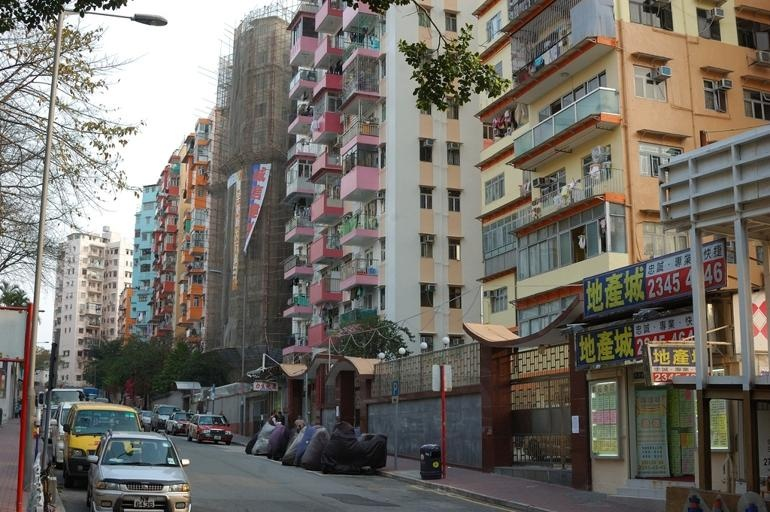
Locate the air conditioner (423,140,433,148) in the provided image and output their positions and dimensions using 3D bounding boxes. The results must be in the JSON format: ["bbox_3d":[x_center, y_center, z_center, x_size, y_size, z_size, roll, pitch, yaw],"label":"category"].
[{"bbox_3d":[2.689,-6.965,65.393,0.373,0.373,0.278,-1,2,-12],"label":"air conditioner"}]

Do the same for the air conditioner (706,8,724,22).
[{"bbox_3d":[15.509,-11.338,50.041,0.622,0.458,0.619,10,-12,-43],"label":"air conditioner"}]

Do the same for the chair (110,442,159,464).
[{"bbox_3d":[-7.682,5.974,32.490,1.422,0.737,0.558,5,-17,-13],"label":"chair"}]

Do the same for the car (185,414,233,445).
[{"bbox_3d":[-10.249,9.904,60.930,1.345,1.036,2.793,7,-20,-20],"label":"car"}]

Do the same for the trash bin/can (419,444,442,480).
[{"bbox_3d":[1.740,7.738,40.049,0.768,1.280,0.477,0,-17,4],"label":"trash bin/can"}]

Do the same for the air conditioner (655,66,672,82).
[{"bbox_3d":[12.613,-8.225,48.308,0.637,0.564,0.666,3,-9,-16],"label":"air conditioner"}]

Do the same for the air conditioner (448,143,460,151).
[{"bbox_3d":[4.281,-6.836,66.222,0.765,0.400,0.476,0,-5,-8],"label":"air conditioner"}]

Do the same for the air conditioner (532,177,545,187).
[{"bbox_3d":[7.626,-3.583,52.718,0.424,0.549,0.790,7,-11,-9],"label":"air conditioner"}]
